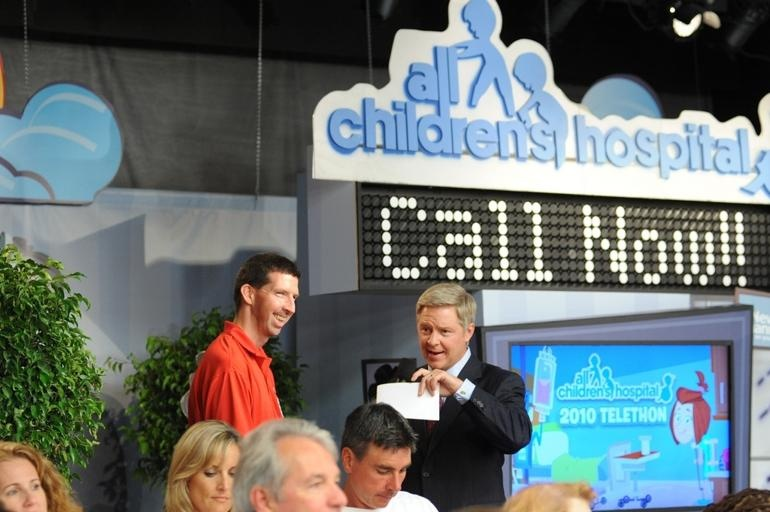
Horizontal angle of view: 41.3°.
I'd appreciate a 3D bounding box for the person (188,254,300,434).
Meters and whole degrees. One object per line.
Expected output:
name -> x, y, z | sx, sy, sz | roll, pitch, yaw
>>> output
person -> -1.067, 0.657, 7.634 | 0.550, 1.865, 0.798 | -1, -22, 3
